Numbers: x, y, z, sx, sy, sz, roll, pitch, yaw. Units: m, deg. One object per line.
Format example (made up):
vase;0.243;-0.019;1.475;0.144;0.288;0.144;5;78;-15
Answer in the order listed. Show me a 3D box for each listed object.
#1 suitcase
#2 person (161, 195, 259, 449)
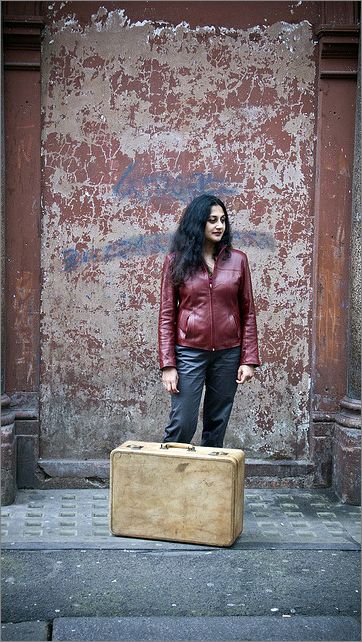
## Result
suitcase;-0.021;0.894;3.169;0.448;0.370;0.162;2;12;16
person;0.162;0.138;3.563;0.553;1.697;0.370;-2;21;-4
